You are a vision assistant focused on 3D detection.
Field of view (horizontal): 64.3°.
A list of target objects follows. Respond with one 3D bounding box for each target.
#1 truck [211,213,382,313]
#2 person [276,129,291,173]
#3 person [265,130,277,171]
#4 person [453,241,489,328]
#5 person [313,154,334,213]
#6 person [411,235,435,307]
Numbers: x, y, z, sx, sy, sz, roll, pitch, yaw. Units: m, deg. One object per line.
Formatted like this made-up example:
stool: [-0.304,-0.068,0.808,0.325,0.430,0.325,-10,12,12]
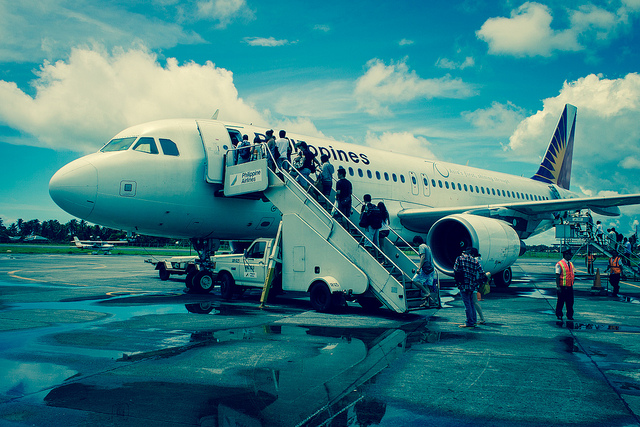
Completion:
truck: [-0.639,1.401,15.701,5.850,2.280,2.199,2,-3,33]
person: [-1.143,-1.911,15.827,0.439,1.268,0.728,1,2,-5]
person: [-1.504,-1.935,15.645,0.358,1.287,0.889,1,2,-5]
person: [3.684,1.802,12.547,0.731,1.822,0.763,1,2,1]
person: [0.072,-0.787,15.486,0.554,1.489,1.440,1,2,-1]
person: [2.784,1.534,13.854,0.599,1.839,1.272,2,2,10]
